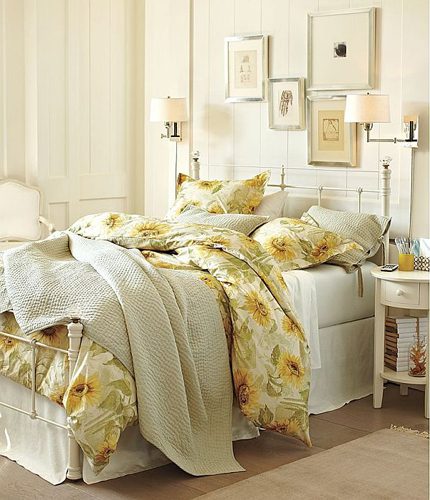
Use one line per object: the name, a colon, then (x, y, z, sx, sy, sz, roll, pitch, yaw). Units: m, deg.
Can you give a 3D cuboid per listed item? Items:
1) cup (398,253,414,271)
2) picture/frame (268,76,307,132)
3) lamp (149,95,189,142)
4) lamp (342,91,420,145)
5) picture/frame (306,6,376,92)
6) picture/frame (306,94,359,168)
cup: (0.946, 0.062, 2.393, 0.083, 0.090, 0.080, 3, -4, 0)
picture/frame: (0.523, -1.070, 3.536, 0.296, 0.362, 0.041, 13, 28, 38)
lamp: (-0.383, -1.076, 4.073, 0.288, 0.420, 0.285, 1, 18, -4)
lamp: (1.006, -0.750, 2.868, 0.399, 0.304, 0.225, 6, 12, 14)
picture/frame: (0.848, -1.337, 3.189, 0.045, 0.627, 0.619, -6, 9, -42)
picture/frame: (0.801, -0.804, 3.240, 0.498, 0.618, 0.044, 6, 10, 44)
